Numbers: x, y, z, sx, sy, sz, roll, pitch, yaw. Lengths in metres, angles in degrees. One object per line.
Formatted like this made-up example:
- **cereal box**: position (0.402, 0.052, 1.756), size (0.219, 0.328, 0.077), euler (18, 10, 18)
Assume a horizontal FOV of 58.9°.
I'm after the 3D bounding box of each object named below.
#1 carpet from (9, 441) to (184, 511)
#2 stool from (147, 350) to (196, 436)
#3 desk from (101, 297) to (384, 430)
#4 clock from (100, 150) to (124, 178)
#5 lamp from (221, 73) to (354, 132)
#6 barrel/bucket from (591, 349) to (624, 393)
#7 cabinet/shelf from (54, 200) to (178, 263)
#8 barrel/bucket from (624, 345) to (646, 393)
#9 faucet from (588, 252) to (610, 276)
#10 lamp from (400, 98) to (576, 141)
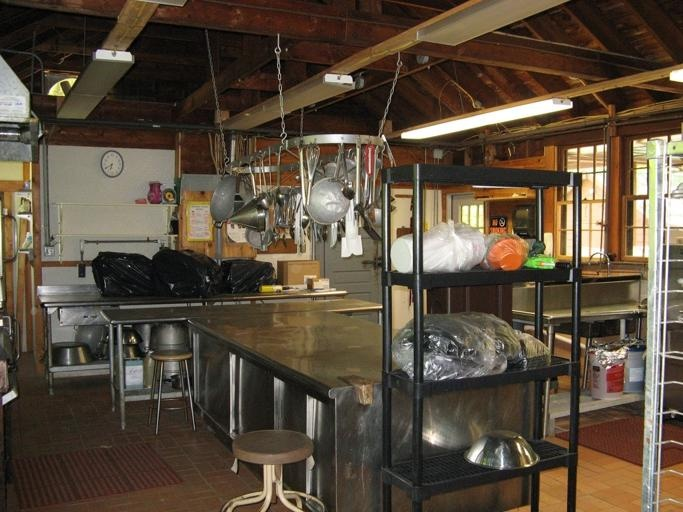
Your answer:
- **carpet**: position (-1.852, 1.613, 4.509), size (1.037, 0.022, 0.974), euler (-4, 8, -30)
- **stool**: position (-1.573, 1.167, 5.530), size (0.416, 0.761, 0.913), euler (-3, 8, -17)
- **desk**: position (-1.035, 0.925, 6.308), size (2.690, 1.099, 3.002), euler (-3, 7, -22)
- **clock**: position (-3.094, -1.239, 8.083), size (0.411, 0.429, 0.042), euler (-2, 2, -35)
- **lamp**: position (-0.687, -1.723, 6.788), size (0.321, 0.086, 1.863), euler (11, -14, -32)
- **barrel/bucket**: position (2.529, 1.107, 5.723), size (0.293, 0.494, 0.160), euler (2, 9, 14)
- **cabinet/shelf**: position (-3.022, -0.323, 8.045), size (1.437, 0.764, 0.520), euler (-3, 9, -24)
- **barrel/bucket**: position (2.876, 1.093, 5.849), size (0.245, 0.487, 0.112), euler (-4, 9, -23)
- **faucet**: position (3.093, 0.075, 7.224), size (0.245, 0.259, 0.839), euler (3, 8, 22)
- **lamp**: position (1.489, -1.472, 6.577), size (0.249, 0.120, 2.472), euler (-14, 10, -26)
